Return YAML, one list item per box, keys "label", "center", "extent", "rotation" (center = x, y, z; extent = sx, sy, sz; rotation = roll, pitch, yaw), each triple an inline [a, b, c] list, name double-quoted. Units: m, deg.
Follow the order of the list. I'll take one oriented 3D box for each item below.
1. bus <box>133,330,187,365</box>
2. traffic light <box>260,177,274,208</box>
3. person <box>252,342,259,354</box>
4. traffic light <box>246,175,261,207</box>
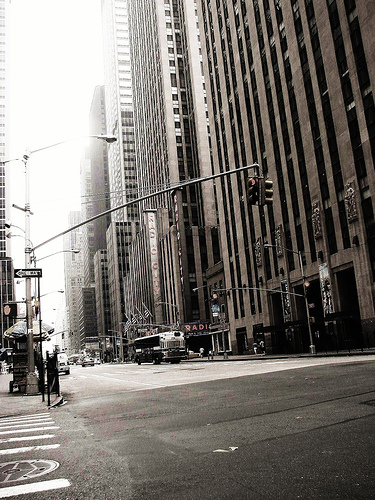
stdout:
- label: "bus"
  center: [-4.299, 12.321, 56.857]
  extent: [2.428, 4.644, 8.421]
  rotation: [4, -13, -37]
- label: "traffic light"
  center: [2.331, -1.746, 13.616]
  extent: [0.377, 1.014, 0.890]
  rotation: [-6, -10, 11]
- label: "person"
  center: [8.502, 12.161, 57.250]
  extent: [0.495, 1.529, 2.052]
  rotation: [-5, -11, 7]
- label: "traffic light"
  center: [1.984, -1.793, 13.868]
  extent: [0.418, 1.442, 0.614]
  rotation: [-2, 2, -6]
